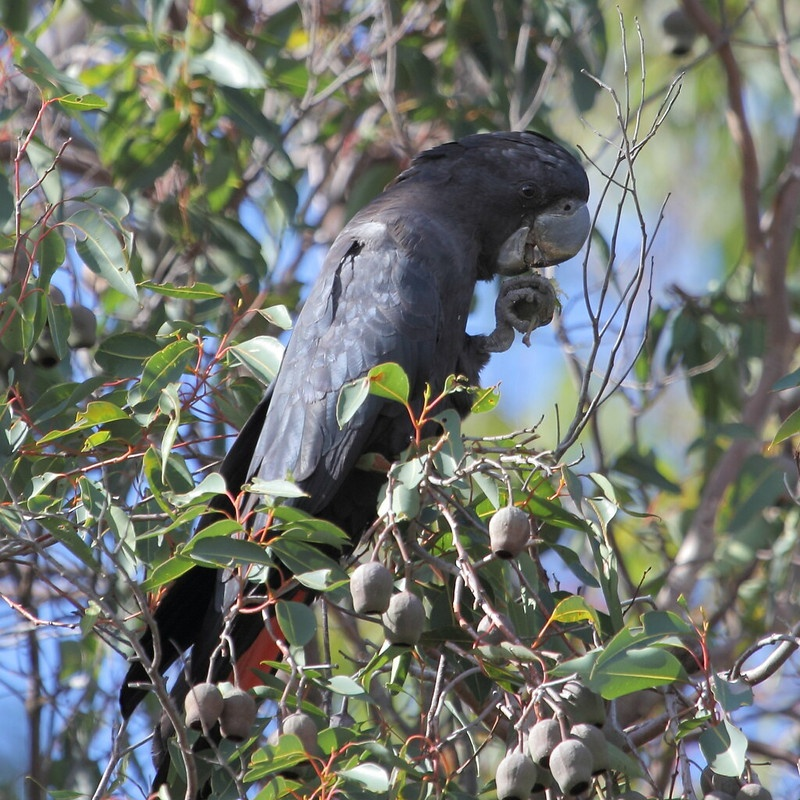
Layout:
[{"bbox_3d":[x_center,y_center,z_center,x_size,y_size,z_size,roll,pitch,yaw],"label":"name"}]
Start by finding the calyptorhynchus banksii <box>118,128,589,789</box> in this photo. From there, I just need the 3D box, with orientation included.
[{"bbox_3d":[-0.052,0.081,3.162,0.588,1.701,0.475,24,-20,-7],"label":"calyptorhynchus banksii"}]

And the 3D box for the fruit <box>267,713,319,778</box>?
[{"bbox_3d":[-0.158,0.572,2.417,0.064,0.113,0.077,-2,-21,29],"label":"fruit"}]

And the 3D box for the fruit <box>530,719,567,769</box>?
[{"bbox_3d":[0.219,0.525,2.244,0.057,0.075,0.063,17,-35,-25],"label":"fruit"}]

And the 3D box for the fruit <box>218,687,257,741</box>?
[{"bbox_3d":[-0.268,0.517,2.420,0.074,0.110,0.072,-2,0,0],"label":"fruit"}]

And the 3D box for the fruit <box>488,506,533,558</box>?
[{"bbox_3d":[0.182,0.221,2.484,0.076,0.091,0.074,14,-16,-18],"label":"fruit"}]

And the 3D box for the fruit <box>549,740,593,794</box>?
[{"bbox_3d":[0.257,0.550,2.192,0.068,0.089,0.073,6,-35,-2],"label":"fruit"}]

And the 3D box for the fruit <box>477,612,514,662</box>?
[{"bbox_3d":[0.151,0.389,2.394,0.019,0.064,0.076,-12,38,-31],"label":"fruit"}]

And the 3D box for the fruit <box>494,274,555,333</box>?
[{"bbox_3d":[0.274,-0.217,3.211,0.131,0.114,0.068,17,21,-3],"label":"fruit"}]

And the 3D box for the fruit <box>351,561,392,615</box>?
[{"bbox_3d":[-0.045,0.305,2.359,0.075,0.092,0.074,-6,-5,38],"label":"fruit"}]
